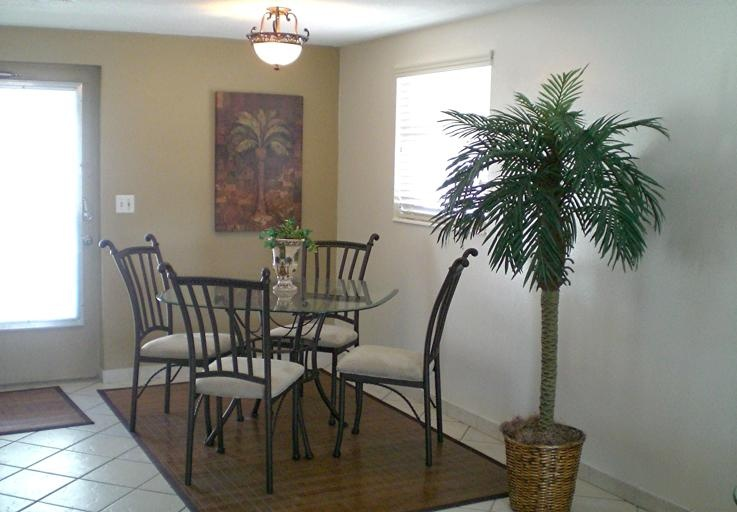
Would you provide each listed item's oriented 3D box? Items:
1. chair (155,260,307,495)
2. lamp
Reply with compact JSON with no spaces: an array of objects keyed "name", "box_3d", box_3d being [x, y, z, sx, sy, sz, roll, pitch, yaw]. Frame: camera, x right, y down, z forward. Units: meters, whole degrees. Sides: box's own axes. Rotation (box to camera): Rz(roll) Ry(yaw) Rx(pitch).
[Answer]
[{"name":"chair","box_3d":[-0.933,0.628,4.143,0.901,1.389,1.656,-3,13,-18]},{"name":"lamp","box_3d":[-0.648,-1.535,4.313,0.506,0.472,0.482,0,0,0]}]
